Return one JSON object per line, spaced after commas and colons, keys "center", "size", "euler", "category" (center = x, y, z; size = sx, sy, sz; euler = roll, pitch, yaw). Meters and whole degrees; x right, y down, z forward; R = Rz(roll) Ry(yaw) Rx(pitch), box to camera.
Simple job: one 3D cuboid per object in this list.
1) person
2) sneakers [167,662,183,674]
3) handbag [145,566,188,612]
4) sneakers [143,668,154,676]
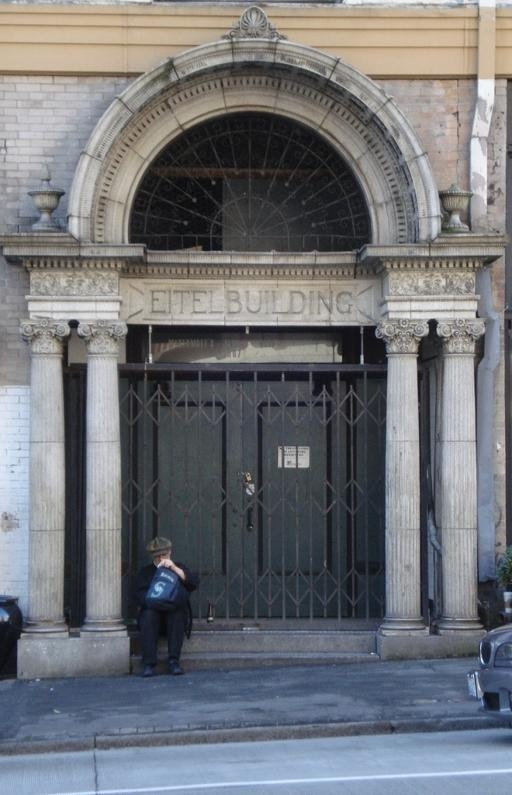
{"center": [-0.937, 2.190, 18.052], "size": [0.545, 1.589, 0.925], "euler": [2, -43, -4], "category": "person"}
{"center": [-0.820, 2.694, 17.619], "size": [0.067, 0.123, 0.246], "euler": [1, -16, -10], "category": "sneakers"}
{"center": [-0.900, 1.951, 17.890], "size": [0.348, 0.679, 0.358], "euler": [2, -43, 0], "category": "handbag"}
{"center": [-1.071, 2.705, 17.452], "size": [0.092, 0.091, 0.140], "euler": [-3, -6, 5], "category": "sneakers"}
